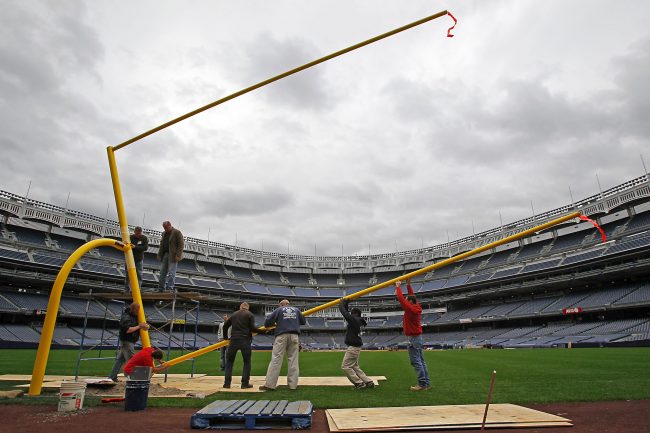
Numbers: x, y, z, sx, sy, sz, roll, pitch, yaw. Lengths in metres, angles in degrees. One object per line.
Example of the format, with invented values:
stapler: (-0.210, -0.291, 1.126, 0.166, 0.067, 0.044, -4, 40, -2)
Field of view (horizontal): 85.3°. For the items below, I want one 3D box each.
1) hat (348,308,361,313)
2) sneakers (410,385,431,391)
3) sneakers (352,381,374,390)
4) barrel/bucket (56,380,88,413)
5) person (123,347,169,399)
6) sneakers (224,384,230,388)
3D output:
hat: (0.939, 2.930, 11.108, 0.345, 0.126, 0.207, 1, -23, 13)
sneakers: (2.872, 5.173, 10.774, 0.657, 0.188, 0.172, 2, -22, 7)
sneakers: (1.270, 5.204, 11.026, 0.832, 0.248, 0.233, 7, -25, -22)
barrel/bucket: (-6.143, 4.299, 8.584, 0.555, 0.655, 0.309, 9, -28, -23)
person: (-4.966, 4.031, 9.681, 0.905, 1.034, 0.550, 34, 5, -23)
sneakers: (-3.060, 5.191, 10.986, 0.159, 0.098, 0.160, 1, -19, -6)
